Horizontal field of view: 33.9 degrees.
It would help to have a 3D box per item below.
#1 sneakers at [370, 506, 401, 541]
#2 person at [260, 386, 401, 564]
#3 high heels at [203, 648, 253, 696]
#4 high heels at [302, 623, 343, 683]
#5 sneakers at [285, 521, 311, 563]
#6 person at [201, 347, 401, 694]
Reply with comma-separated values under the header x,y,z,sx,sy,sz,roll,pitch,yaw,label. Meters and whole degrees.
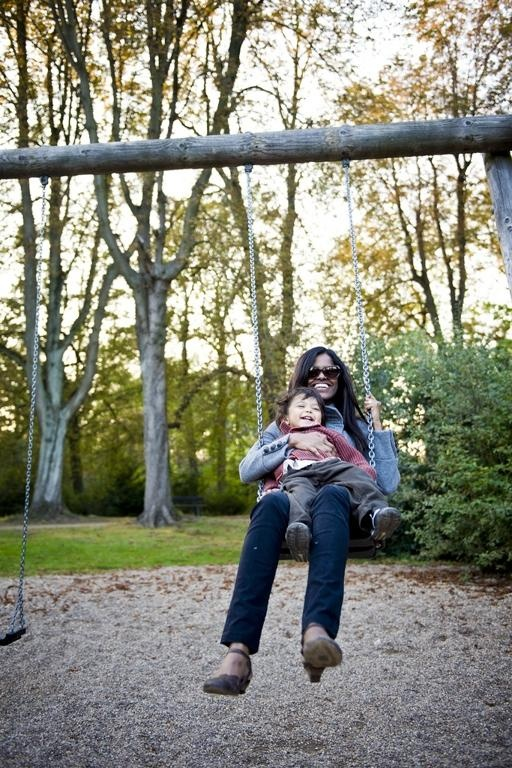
x,y,z,sx,sy,sz,roll,pitch,yaw,label
0.608,0.653,3.989,0.088,0.217,0.095,11,44,-9,sneakers
0.382,0.424,4.329,0.514,0.277,0.923,-8,33,6,person
-0.114,1.271,3.614,0.109,0.158,0.291,-2,1,23,high heels
0.283,1.164,3.631,0.124,0.302,0.129,1,44,-3,high heels
0.206,0.734,3.884,0.089,0.225,0.099,-2,31,13,sneakers
0.289,0.434,4.391,0.621,0.359,1.225,-11,34,-6,person
